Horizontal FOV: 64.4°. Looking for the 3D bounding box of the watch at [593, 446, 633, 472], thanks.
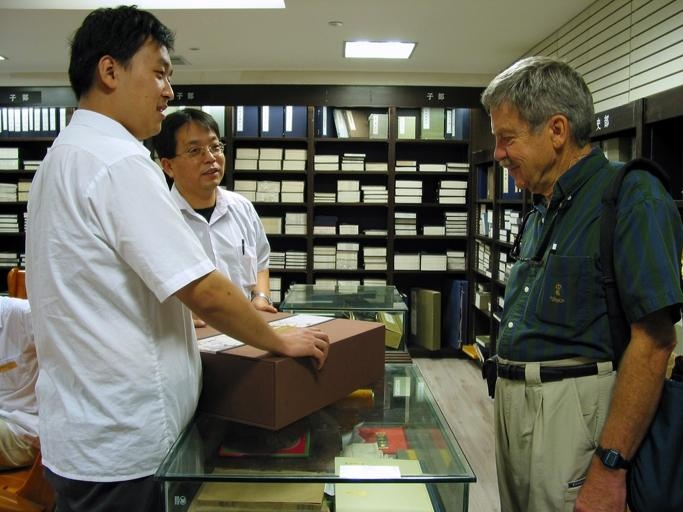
[{"bbox_3d":[0.727,0.548,1.460,0.080,0.059,0.077,12,-3,15],"label":"watch"}]
